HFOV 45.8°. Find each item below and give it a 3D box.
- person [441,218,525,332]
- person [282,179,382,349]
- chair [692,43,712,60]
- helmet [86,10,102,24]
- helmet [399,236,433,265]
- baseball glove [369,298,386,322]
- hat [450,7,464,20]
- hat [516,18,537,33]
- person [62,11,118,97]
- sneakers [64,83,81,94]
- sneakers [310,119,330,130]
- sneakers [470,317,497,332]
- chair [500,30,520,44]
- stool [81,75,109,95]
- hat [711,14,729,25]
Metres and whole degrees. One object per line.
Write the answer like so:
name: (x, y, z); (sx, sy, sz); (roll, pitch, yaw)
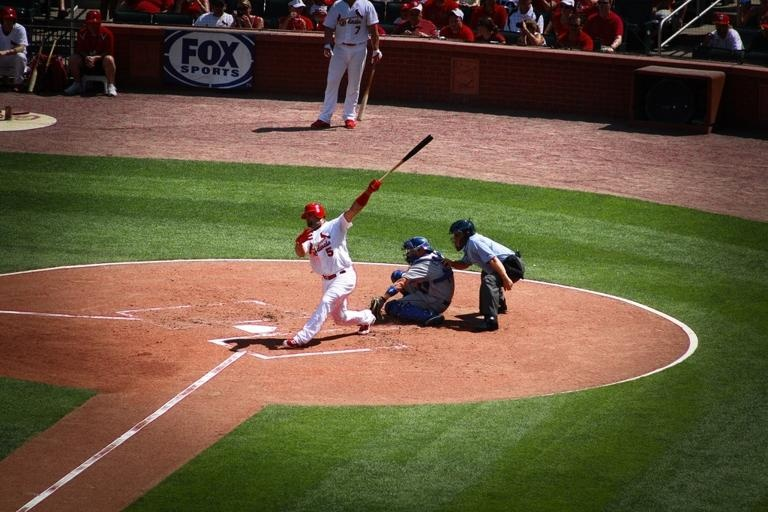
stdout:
person: (1.434, 0.257, 12.818); (1.114, 1.462, 0.750); (3, 13, 1)
person: (-0.727, 0.091, 12.076); (1.298, 2.231, 0.612); (-5, 16, -31)
chair: (7.957, -5.095, 22.664); (0.382, 0.329, 0.373); (5, 12, 12)
helmet: (-7.495, -6.145, 23.433); (0.477, 0.268, 0.583); (-1, 19, -20)
helmet: (0.461, -0.096, 13.044); (0.478, 0.327, 0.362); (0, 16, 24)
baseball glove: (-0.089, 0.752, 12.847); (0.385, 0.289, 0.154); (0, -11, -10)
hat: (1.986, -6.539, 24.547); (0.300, 0.280, 0.467); (3, 12, 2)
hat: (3.910, -6.155, 24.258); (0.442, 0.350, 0.351); (4, 13, 9)
person: (-7.659, -5.312, 23.907); (1.101, 2.169, 1.043); (15, 18, 41)
sneakers: (-8.260, -4.436, 24.146); (0.498, 0.245, 0.224); (3, 9, 3)
sneakers: (-1.534, -3.157, 21.839); (0.430, 0.157, 0.206); (4, 4, -7)
sneakers: (1.409, 0.944, 12.790); (0.434, 0.238, 0.149); (5, 18, 17)
chair: (3.512, -5.997, 24.853); (0.597, 0.321, 0.450); (6, 13, 20)
stool: (-7.750, -4.603, 24.261); (0.674, 0.327, 0.584); (0, 4, -5)
hat: (8.535, -5.989, 22.867); (0.342, 0.180, 0.420); (0, 10, 7)
